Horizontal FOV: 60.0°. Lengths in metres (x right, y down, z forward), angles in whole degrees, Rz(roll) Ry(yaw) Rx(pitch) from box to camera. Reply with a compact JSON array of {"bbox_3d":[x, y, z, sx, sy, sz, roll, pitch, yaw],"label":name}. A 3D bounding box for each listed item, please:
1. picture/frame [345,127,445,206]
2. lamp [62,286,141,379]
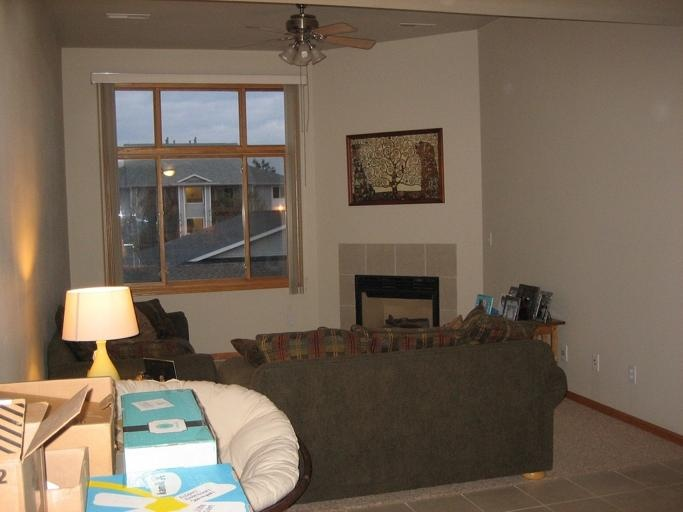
[{"bbox_3d":[0.651,-1.010,6.586,0.910,0.682,0.039,0,3,20],"label":"picture/frame"},{"bbox_3d":[-1.371,0.448,3.339,0.348,0.520,0.292,1,5,22],"label":"lamp"}]
